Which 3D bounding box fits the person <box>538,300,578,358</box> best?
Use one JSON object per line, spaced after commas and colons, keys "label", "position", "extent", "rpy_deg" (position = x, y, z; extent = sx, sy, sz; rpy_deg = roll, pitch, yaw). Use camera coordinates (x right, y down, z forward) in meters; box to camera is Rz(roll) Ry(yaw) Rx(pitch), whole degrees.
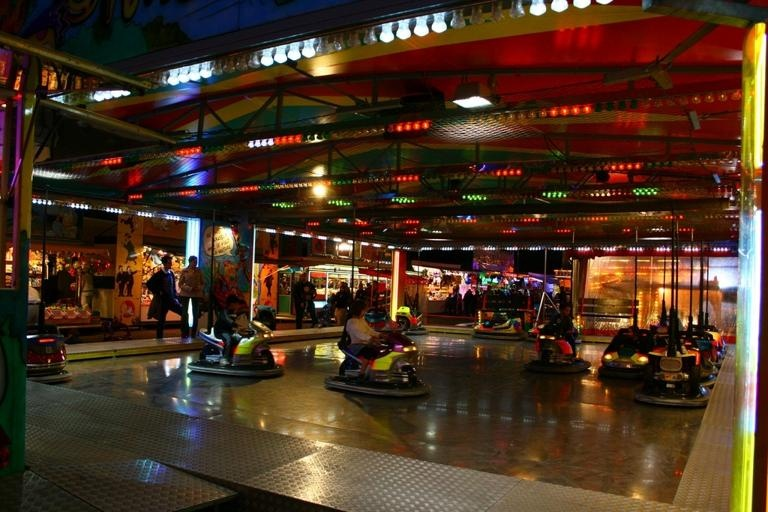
{"label": "person", "position": [3.562, 1.671, 13.262], "extent": [0.804, 0.815, 1.398], "rpy_deg": [0, -4, 27]}

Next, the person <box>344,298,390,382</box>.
{"label": "person", "position": [-0.342, 1.322, 10.143], "extent": [0.681, 1.211, 0.421], "rpy_deg": [4, -4, 7]}

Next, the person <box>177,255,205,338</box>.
{"label": "person", "position": [-4.262, 0.911, 13.826], "extent": [0.530, 1.816, 1.287], "rpy_deg": [6, -5, -16]}
